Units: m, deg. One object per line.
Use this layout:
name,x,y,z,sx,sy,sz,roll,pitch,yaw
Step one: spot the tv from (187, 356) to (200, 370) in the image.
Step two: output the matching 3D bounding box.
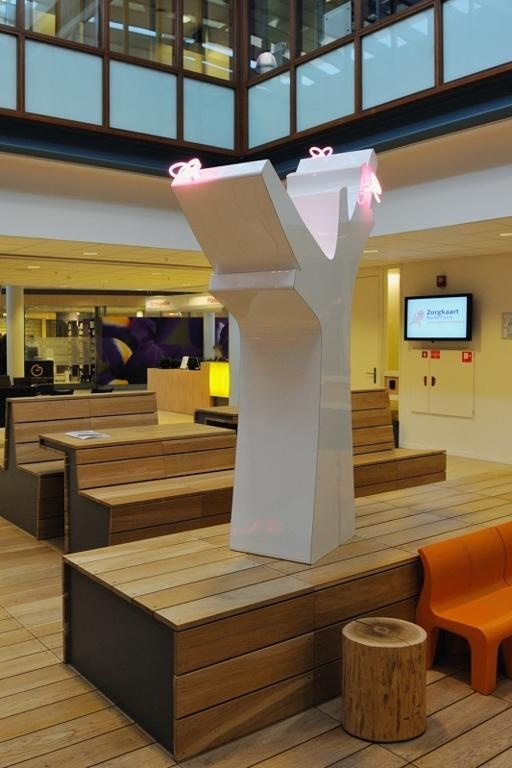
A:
tv,-1.715,-0.565,15.972,0.367,0.364,0.279,-3,0,6

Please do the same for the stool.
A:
stool,0.457,1.057,2.106,0.278,0.318,0.273,2,-9,-42

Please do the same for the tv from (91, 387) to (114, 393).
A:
tv,-5.902,0.204,22.418,0.695,0.195,0.667,-2,2,-2

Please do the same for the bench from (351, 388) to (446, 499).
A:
bench,1.172,0.629,6.169,1.559,1.095,0.773,-2,-4,-40

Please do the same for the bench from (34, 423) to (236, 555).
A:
bench,-0.782,0.838,4.889,1.533,0.806,1.186,-1,2,-42

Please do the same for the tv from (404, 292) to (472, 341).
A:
tv,2.912,-1.086,9.527,0.127,0.720,1.275,-4,0,-36
